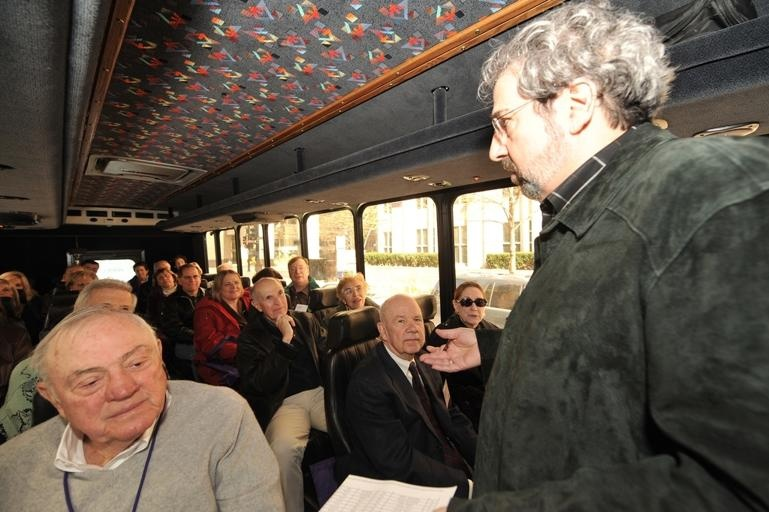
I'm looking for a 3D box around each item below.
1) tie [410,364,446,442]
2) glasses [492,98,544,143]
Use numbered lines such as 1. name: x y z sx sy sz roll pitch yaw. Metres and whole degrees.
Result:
1. tie: 0.304 1.081 3.770 0.142 0.773 0.090 -7 -38 -13
2. glasses: 0.510 -0.535 1.956 0.122 0.037 0.114 -30 7 -3
